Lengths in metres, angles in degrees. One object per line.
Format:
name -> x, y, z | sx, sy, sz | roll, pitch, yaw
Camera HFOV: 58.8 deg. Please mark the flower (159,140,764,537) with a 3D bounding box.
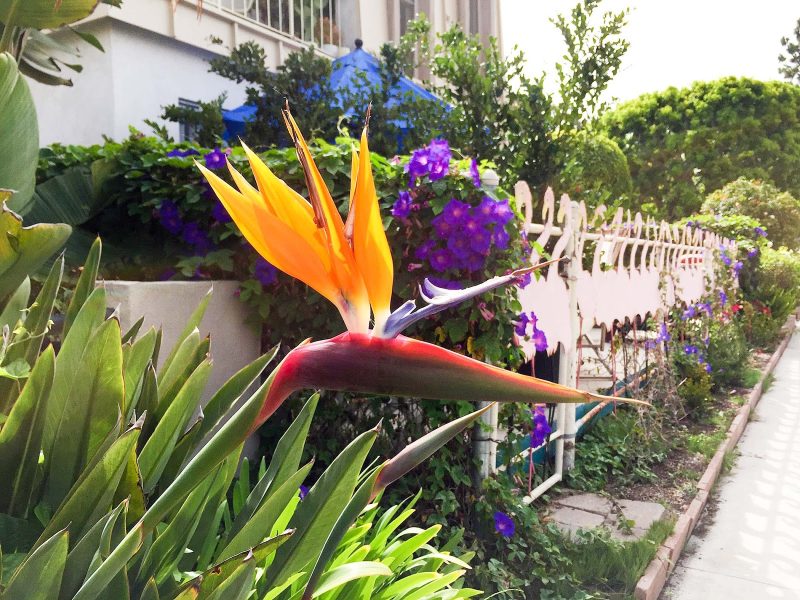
flower -> 0.126, 0.014, 1.717 | 1.112, 1.115, 0.466 | 12, 8, 17
